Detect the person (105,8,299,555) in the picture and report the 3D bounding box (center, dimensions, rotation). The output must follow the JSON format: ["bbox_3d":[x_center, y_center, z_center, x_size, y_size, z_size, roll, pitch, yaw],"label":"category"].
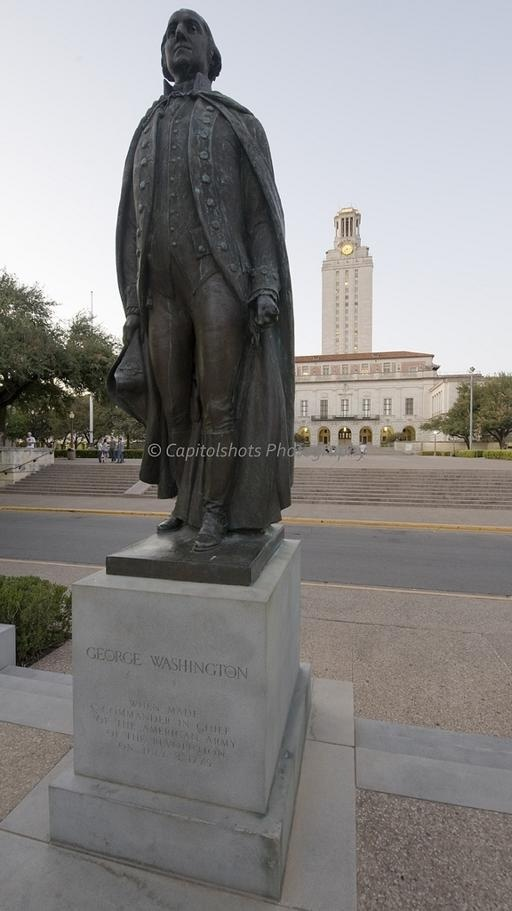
[{"bbox_3d":[-0.283,-0.909,3.663,0.973,2.646,0.803,2,9,7],"label":"person"}]
